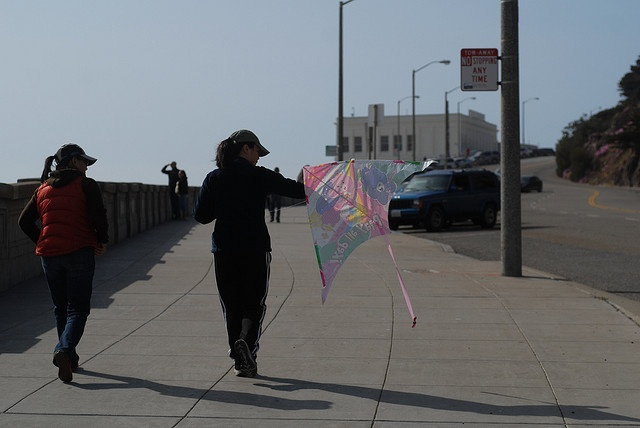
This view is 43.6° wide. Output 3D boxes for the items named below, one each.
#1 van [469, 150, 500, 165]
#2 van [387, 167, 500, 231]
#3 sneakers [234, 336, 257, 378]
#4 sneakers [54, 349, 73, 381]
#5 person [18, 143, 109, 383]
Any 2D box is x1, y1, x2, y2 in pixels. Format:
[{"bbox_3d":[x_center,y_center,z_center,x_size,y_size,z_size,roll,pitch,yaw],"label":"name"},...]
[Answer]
[{"bbox_3d":[18.327,-6.308,89.734,3.885,1.347,1.762,-2,3,-38],"label":"van"},{"bbox_3d":[3.886,-0.504,26.348,3.682,1.793,2.019,-1,-1,-35],"label":"van"},{"bbox_3d":[-0.817,1.599,8.897,0.180,0.492,0.222,-11,12,9],"label":"sneakers"},{"bbox_3d":[-2.783,1.639,8.766,0.162,0.385,0.162,-3,8,5],"label":"sneakers"},{"bbox_3d":[-2.815,0.480,9.091,0.894,2.583,1.084,-4,8,-28],"label":"person"}]
